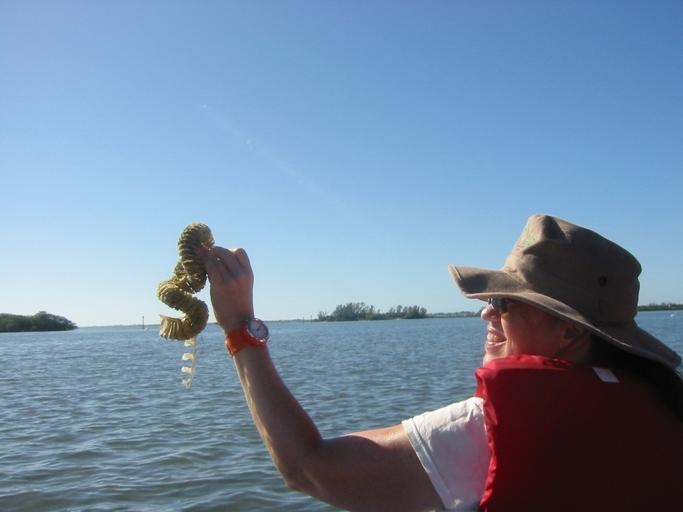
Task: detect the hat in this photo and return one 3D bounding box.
[{"bbox_3d":[1.073,0.118,2.784,0.964,0.464,0.979,24,1,-8],"label":"hat"}]

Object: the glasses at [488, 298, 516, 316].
[{"bbox_3d":[0.774,0.245,2.820,0.085,0.038,0.083,6,-13,-9],"label":"glasses"}]
